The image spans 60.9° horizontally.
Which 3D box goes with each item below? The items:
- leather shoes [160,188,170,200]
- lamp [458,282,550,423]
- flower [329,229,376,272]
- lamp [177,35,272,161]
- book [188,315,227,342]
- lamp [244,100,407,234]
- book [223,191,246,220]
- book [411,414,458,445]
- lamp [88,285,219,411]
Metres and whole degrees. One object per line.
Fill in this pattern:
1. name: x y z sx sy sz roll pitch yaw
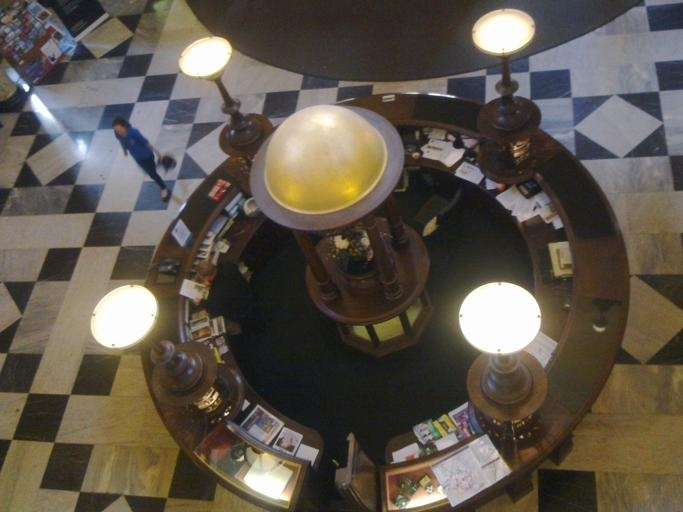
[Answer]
1. leather shoes: -2.661 -0.924 8.755 0.066 0.088 0.230 -3 53 -2
2. lamp: 1.415 0.902 5.047 0.692 1.174 0.744 -3 40 18
3. flower: 0.129 -0.048 6.276 0.427 0.434 0.462 -1 72 15
4. lamp: -1.163 -1.590 6.081 0.614 1.073 0.602 -40 46 -22
5. book: -1.544 0.831 6.686 0.364 0.137 0.222 -14 78 -2
6. lamp: -0.119 -0.674 4.706 1.343 0.837 0.964 -18 75 1
7. book: -1.317 -0.632 7.213 0.078 0.263 0.362 13 57 41
8. book: 0.971 1.807 6.037 0.353 0.102 0.276 -22 60 6
9. lamp: -1.638 0.970 5.584 0.691 1.784 0.707 -23 50 1
